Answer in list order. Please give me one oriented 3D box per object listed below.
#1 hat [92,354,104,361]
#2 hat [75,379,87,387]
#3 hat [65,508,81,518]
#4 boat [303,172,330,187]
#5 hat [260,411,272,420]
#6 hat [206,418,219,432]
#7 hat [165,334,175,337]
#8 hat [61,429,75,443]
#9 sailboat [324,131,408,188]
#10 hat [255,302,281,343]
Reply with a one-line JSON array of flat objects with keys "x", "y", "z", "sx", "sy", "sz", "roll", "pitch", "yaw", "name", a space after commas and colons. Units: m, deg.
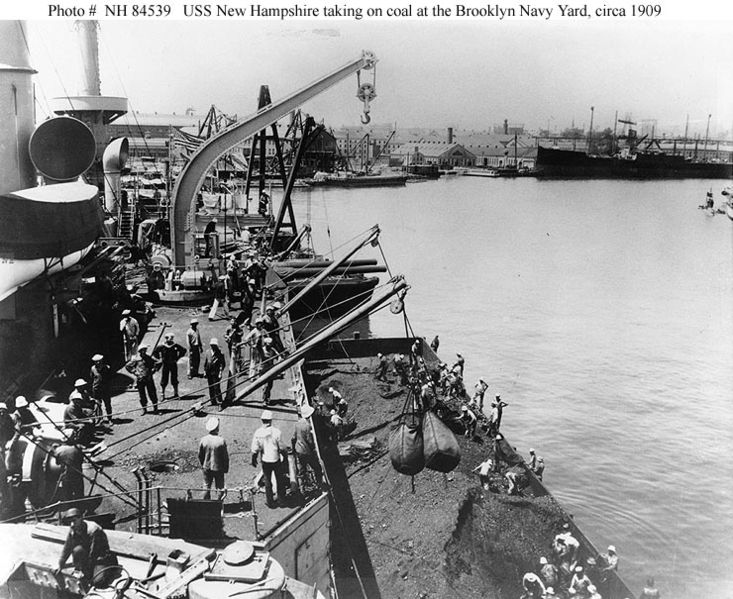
[{"x": -5.083, "y": 1.093, "z": 15.218, "sx": 0.172, "sy": 0.067, "sz": 0.190, "roll": 2, "pitch": 9, "yaw": 3, "name": "hat"}, {"x": -5.088, "y": 1.483, "z": 14.324, "sx": 0.196, "sy": 0.066, "sz": 0.204, "roll": -16, "pitch": 6, "yaw": 40, "name": "hat"}, {"x": -3.828, "y": 2.788, "z": 10.548, "sx": 0.166, "sy": 0.076, "sz": 0.180, "roll": 2, "pitch": -2, "yaw": -4, "name": "hat"}, {"x": -5.006, "y": -12.767, "z": 85.119, "sx": 2.110, "sy": 1.457, "sz": 9.409, "roll": 0, "pitch": 10, "yaw": -2, "name": "boat"}, {"x": -1.556, "y": 1.795, "z": 12.475, "sx": 0.251, "sy": 0.077, "sz": 0.240, "roll": 0, "pitch": 0, "yaw": -19, "name": "hat"}, {"x": -2.382, "y": 1.957, "z": 12.459, "sx": 0.151, "sy": 0.286, "sz": 0.235, "roll": -1, "pitch": 9, "yaw": -6, "name": "hat"}, {"x": -4.133, "y": 0.747, "z": 16.908, "sx": 0.107, "sy": 0.051, "sz": 0.133, "roll": 0, "pitch": -9, "yaw": -4, "name": "hat"}, {"x": -4.515, "y": 2.067, "z": 12.230, "sx": 0.196, "sy": 0.230, "sz": 0.213, "roll": 1, "pitch": -2, "yaw": 10, "name": "hat"}, {"x": -0.618, "y": -15.755, "z": 88.199, "sx": 10.135, "sy": 6.992, "sz": 3.291, "roll": -1, "pitch": 25, "yaw": 2, "name": "sailboat"}, {"x": -2.187, "y": 0.523, "z": 17.848, "sx": 0.303, "sy": 1.064, "sz": 0.428, "roll": 2, "pitch": 29, "yaw": 19, "name": "hat"}]
